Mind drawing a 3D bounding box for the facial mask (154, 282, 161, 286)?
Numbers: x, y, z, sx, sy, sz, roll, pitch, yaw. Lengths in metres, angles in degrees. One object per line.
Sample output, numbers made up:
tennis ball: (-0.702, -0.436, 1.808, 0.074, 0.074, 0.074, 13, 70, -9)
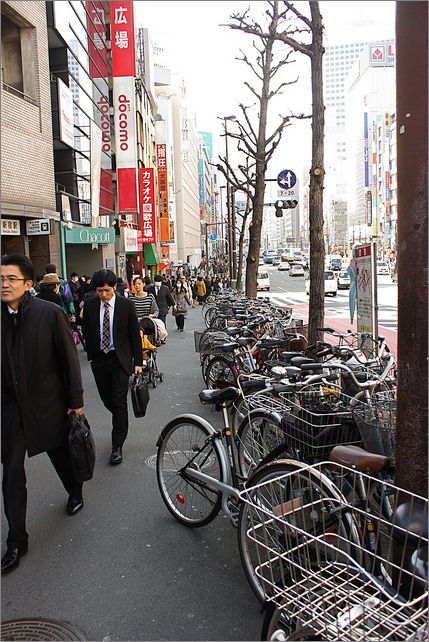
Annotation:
facial mask: (-1.655, -1.114, 13.365, 0.136, 0.139, 0.179, 4, -22, -3)

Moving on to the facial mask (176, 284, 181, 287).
facial mask: (-1.280, -1.305, 16.345, 0.087, 0.120, 0.041, -1, 12, 5)

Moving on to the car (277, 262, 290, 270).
car: (13.567, -10.837, 89.051, 1.802, 1.859, 4.122, 0, -1, 2)

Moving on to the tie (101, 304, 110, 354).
tie: (-1.104, 0.080, 4.654, 0.085, 0.503, 0.051, 0, -1, 18)

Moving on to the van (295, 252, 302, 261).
van: (20.039, -15.703, 109.950, 1.558, 1.770, 2.857, 0, 4, 4)

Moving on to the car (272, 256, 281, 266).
car: (15.252, -14.454, 111.635, 1.540, 1.594, 3.077, 1, 20, 2)

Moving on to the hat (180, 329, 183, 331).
hat: (-1.289, 0.351, 17.695, 0.083, 0.054, 0.092, 5, 7, 12)
